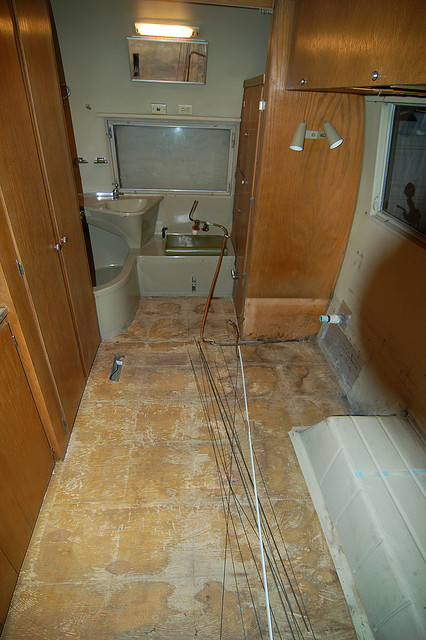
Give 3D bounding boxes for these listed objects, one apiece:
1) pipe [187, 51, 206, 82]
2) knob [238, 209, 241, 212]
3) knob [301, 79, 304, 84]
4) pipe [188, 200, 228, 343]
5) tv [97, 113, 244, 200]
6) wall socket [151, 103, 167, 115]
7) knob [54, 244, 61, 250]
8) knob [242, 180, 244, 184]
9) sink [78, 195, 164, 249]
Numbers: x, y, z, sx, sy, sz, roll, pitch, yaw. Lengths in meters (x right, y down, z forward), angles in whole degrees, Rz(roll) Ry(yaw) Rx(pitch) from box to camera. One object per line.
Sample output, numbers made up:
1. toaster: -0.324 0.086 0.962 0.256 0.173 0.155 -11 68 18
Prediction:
1. pipe: -0.146 -2.161 3.189 0.156 0.220 0.048 0 32 -6
2. knob: 0.231 -0.974 3.314 0.020 0.016 0.023 -1 46 1
3. knob: 0.405 -1.080 1.692 0.015 0.023 0.005 -7 3 -41
4. pipe: -0.086 -0.304 2.861 0.330 1.058 0.116 11 22 -2
5. tv: -0.421 -1.578 3.672 1.282 0.712 0.120 0 32 -5
6. wall socket: -0.492 -1.908 3.360 0.129 0.102 0.020 0 63 -9
7. knob: -0.799 -0.375 1.911 0.024 0.039 0.011 9 4 -5
8. knob: 0.241 -1.125 3.040 0.019 0.020 0.018 20 74 3
9. sink: -0.850 -0.988 3.533 0.638 0.318 0.582 -4 35 -8
